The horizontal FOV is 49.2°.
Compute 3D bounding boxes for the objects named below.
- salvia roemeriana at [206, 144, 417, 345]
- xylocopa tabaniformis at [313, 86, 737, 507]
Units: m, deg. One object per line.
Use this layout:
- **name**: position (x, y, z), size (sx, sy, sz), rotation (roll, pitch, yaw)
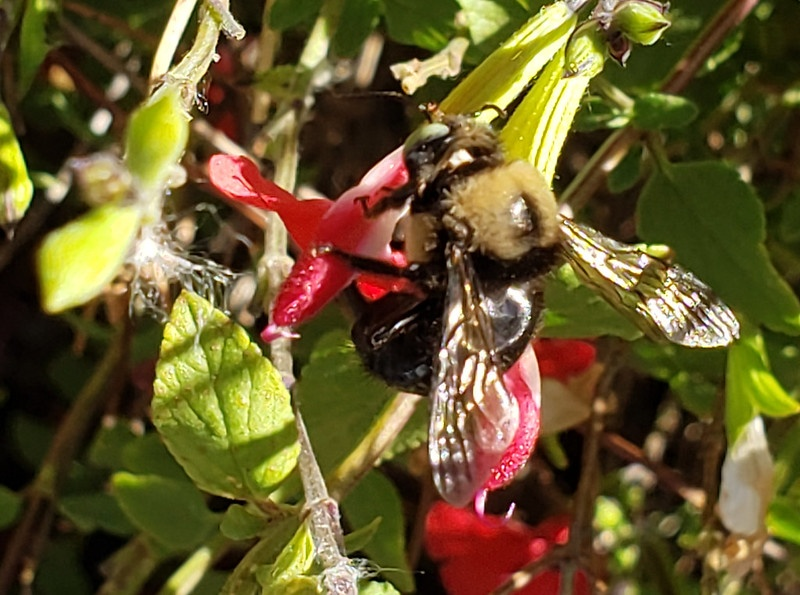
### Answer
- **salvia roemeriana**: position (-0.079, -0.070, 0.821), size (0.162, 0.147, 0.186), rotation (-18, 70, -19)
- **xylocopa tabaniformis**: position (0.084, -0.019, 0.836), size (0.297, 0.125, 0.428), rotation (-6, 64, -35)
